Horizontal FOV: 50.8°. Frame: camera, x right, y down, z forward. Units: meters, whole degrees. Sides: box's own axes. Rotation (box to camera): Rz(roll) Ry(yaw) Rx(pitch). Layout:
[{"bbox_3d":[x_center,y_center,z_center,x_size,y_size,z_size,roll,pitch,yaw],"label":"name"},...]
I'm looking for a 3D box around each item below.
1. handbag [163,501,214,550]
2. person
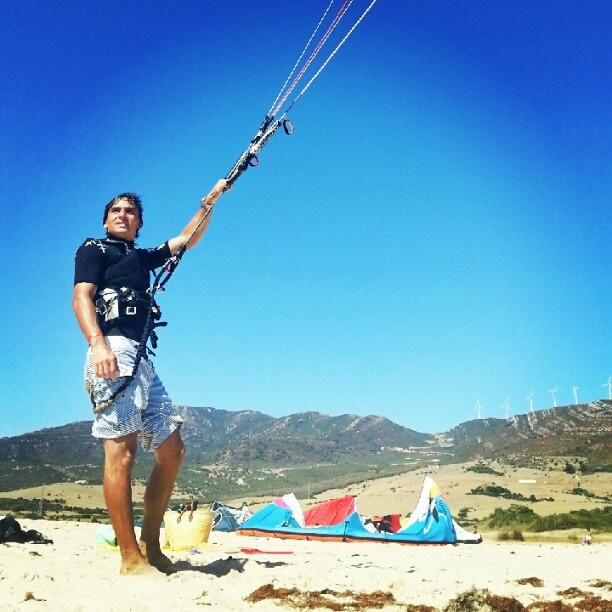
[{"bbox_3d":[-1.648,3.209,8.958,0.641,0.457,0.813,1,37,-10],"label":"handbag"},{"bbox_3d":[-1.510,0.618,5.884,1.171,3.565,0.887,1,-9,-20],"label":"person"}]
